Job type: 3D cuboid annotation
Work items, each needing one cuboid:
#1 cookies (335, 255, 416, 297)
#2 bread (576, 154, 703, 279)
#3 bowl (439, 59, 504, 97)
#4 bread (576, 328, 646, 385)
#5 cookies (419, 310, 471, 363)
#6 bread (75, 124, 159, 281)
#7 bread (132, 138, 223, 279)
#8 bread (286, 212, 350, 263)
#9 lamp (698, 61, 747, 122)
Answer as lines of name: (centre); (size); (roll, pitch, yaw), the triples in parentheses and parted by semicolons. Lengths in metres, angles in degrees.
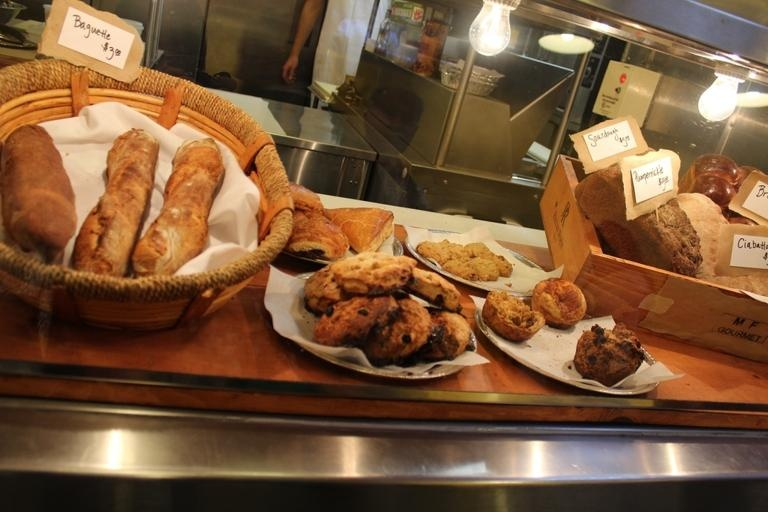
cookies: (-0.021, 0.030, 1.136); (0.118, 0.039, 0.100); (-4, 10, -15)
bread: (0.664, -0.080, 1.481); (0.290, 0.090, 0.278); (-23, 75, -31)
bowl: (0.330, -0.670, 2.132); (0.151, 0.066, 0.171); (19, 16, 8)
bread: (0.527, 0.213, 1.250); (0.154, 0.102, 0.158); (2, -1, 43)
cookies: (0.130, 0.160, 1.143); (0.099, 0.042, 0.094); (9, 25, 14)
bread: (-0.535, -0.101, 1.099); (0.094, 0.087, 0.378); (21, 35, -22)
bread: (-0.427, -0.091, 1.132); (0.119, 0.078, 0.342); (14, 40, -18)
bread: (-0.162, -0.039, 1.414); (0.215, 0.064, 0.110); (13, 38, 4)
lamp: (1.049, -0.489, 1.655); (0.070, 0.149, 0.069); (9, -3, -22)
